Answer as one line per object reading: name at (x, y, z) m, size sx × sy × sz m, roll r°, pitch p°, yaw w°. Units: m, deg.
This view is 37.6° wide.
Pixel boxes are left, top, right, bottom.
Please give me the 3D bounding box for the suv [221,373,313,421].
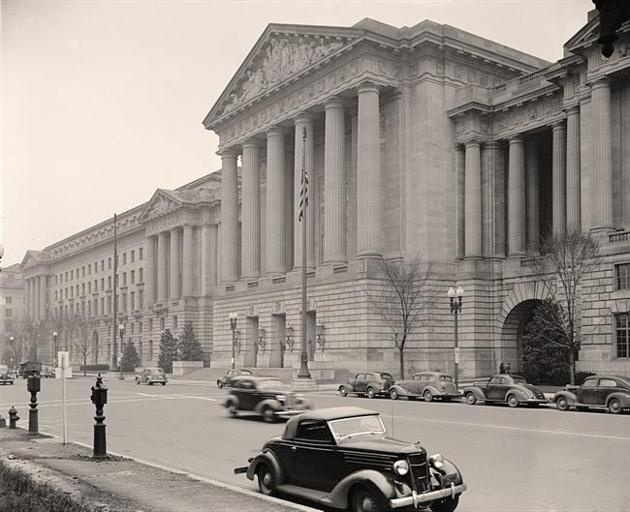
suv at (-1.532, 5.771, 36.903) m, size 2.767 × 1.853 × 3.531 m, roll -1°, pitch -6°, yaw -33°
